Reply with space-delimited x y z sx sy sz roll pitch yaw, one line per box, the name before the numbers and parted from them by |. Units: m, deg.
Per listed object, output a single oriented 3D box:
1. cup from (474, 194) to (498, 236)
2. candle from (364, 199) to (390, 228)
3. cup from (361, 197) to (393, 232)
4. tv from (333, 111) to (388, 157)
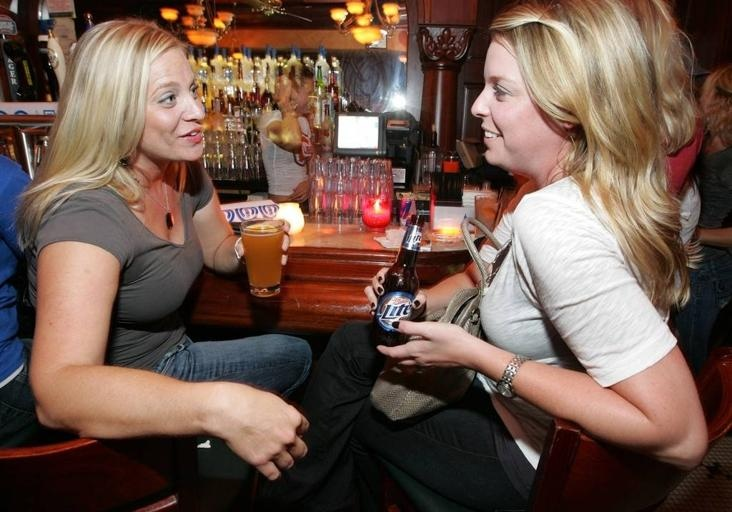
cup | 0.601 -0.223 2.507 0.132 0.225 0.123 4 -4 0
candle | 0.056 -0.213 2.427 0.132 0.136 0.130 5 8 24
cup | 0.057 -0.208 2.491 0.151 0.153 0.154 3 13 -1
tv | -0.034 -0.792 3.389 0.451 0.394 0.246 2 12 2
